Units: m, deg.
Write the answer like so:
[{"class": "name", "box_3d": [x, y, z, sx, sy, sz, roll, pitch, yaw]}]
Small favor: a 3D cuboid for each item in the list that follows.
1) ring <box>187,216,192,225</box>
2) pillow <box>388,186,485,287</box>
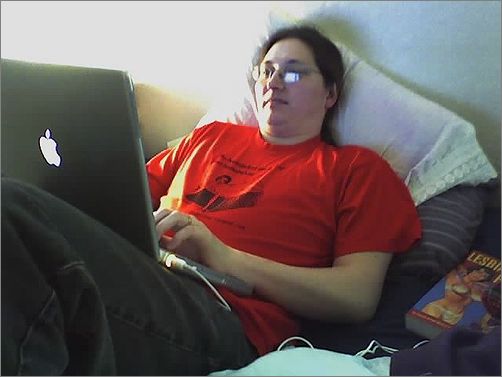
[{"class": "ring", "box_3d": [-0.159, 0.083, 1.144, 0.011, 0.016, 0.006, -1, -14, 4]}, {"class": "pillow", "box_3d": [0.502, 0.115, 1.198, 0.166, 0.103, 0.313, 9, 48, 43]}]
